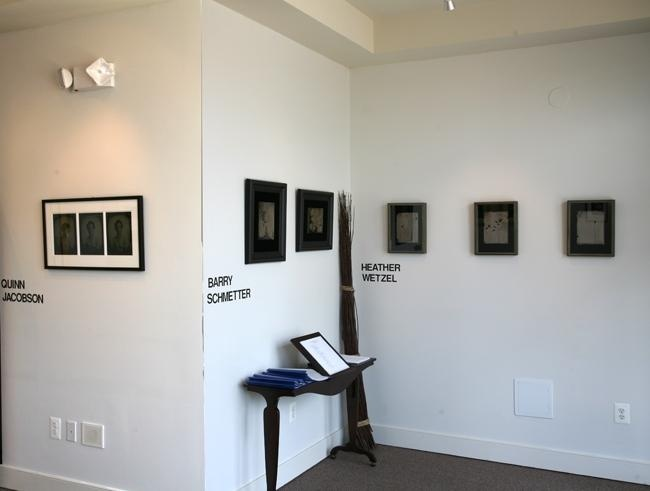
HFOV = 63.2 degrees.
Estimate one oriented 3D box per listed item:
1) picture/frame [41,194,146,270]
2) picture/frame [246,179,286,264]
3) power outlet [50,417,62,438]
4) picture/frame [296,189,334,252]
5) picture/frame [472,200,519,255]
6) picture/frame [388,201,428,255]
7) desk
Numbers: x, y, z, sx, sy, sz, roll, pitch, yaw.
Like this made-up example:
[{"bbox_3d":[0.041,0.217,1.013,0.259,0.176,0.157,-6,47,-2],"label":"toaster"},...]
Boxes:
[{"bbox_3d":[-1.592,-0.080,3.603,0.024,0.468,0.677,3,4,40],"label":"picture/frame"},{"bbox_3d":[-0.440,-0.180,3.770,0.080,0.791,0.559,1,2,30],"label":"picture/frame"},{"bbox_3d":[-1.909,1.289,3.735,0.141,0.185,0.018,-1,-3,26],"label":"power outlet"},{"bbox_3d":[-0.106,-0.210,4.283,0.033,0.493,0.456,3,7,31],"label":"picture/frame"},{"bbox_3d":[1.409,-0.150,4.333,0.399,0.598,0.059,1,0,25],"label":"picture/frame"},{"bbox_3d":[0.726,-0.163,4.574,0.402,0.550,0.052,1,1,20],"label":"picture/frame"},{"bbox_3d":[-0.071,1.344,3.955,0.492,0.883,1.147,0,1,32],"label":"desk"}]
